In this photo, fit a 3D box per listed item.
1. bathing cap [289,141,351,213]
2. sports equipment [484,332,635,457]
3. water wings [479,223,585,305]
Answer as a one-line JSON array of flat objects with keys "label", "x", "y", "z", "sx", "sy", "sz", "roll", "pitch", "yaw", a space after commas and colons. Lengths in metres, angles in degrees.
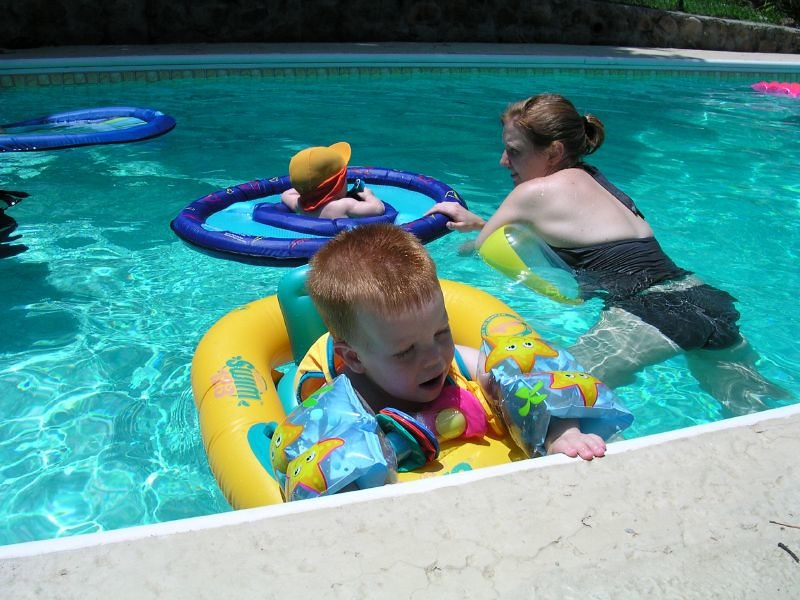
[{"label": "bathing cap", "x": -0.617, "y": -0.960, "z": 4.918, "sx": 0.492, "sy": 0.496, "sz": 0.423, "roll": 17, "pitch": 24, "yaw": 28}, {"label": "sports equipment", "x": 0.487, "y": 0.308, "z": 2.166, "sx": 0.366, "sy": 0.156, "sz": 0.486, "roll": -9, "pitch": 28, "yaw": -17}, {"label": "water wings", "x": 0.757, "y": -0.208, "z": 3.864, "sx": 0.872, "sy": 0.409, "sz": 0.709, "roll": -4, "pitch": 20, "yaw": -14}]
